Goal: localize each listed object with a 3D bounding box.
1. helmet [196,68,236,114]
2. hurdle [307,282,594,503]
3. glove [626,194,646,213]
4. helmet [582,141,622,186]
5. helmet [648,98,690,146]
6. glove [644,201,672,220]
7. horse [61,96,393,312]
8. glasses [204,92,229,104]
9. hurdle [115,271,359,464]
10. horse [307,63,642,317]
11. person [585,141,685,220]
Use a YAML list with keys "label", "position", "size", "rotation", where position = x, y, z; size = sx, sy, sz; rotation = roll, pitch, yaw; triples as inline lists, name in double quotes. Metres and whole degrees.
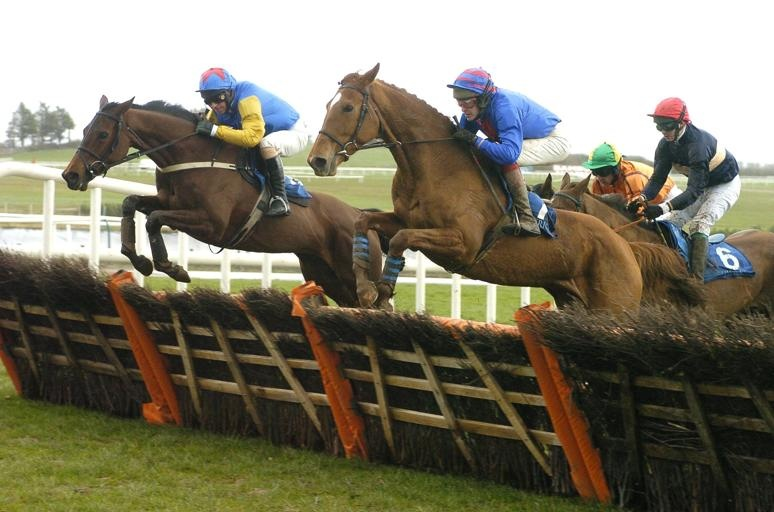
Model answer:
- label: "helmet"
  position: [-1.242, -1.195, 6.720]
  size: [0.231, 0.314, 0.252]
  rotation: [0, 11, -2]
- label: "hurdle"
  position: [0.335, 0.839, 5.329]
  size: [1.799, 0.971, 0.251]
  rotation: [5, 52, 19]
- label: "glove"
  position: [1.815, -0.380, 6.720]
  size: [0.111, 0.128, 0.063]
  rotation: [29, 22, 31]
- label: "helmet"
  position: [1.707, -0.782, 7.455]
  size: [0.308, 0.227, 0.195]
  rotation: [1, 21, -25]
- label: "helmet"
  position: [2.004, -0.967, 6.583]
  size: [0.371, 0.273, 0.252]
  rotation: [-5, -2, -22]
- label: "glove"
  position: [1.952, -0.331, 6.666]
  size: [0.169, 0.067, 0.131]
  rotation: [-14, 14, 48]
- label: "horse"
  position: [-1.193, -0.238, 7.126]
  size: [0.696, 1.303, 3.195]
  rotation: [12, -1, 45]
- label: "glasses"
  position: [-1.259, -1.139, 6.737]
  size: [0.103, 0.040, 0.112]
  rotation: [-7, -2, 15]
- label: "hurdle"
  position: [-0.972, 0.746, 5.777]
  size: [1.858, 1.045, 0.427]
  rotation: [8, 50, 17]
- label: "horse"
  position: [0.647, -0.050, 6.374]
  size: [0.823, 1.615, 3.549]
  rotation: [0, -11, 44]
- label: "person"
  position: [2.023, -0.607, 7.738]
  size: [0.408, 0.489, 1.282]
  rotation: [-2, -2, 41]
